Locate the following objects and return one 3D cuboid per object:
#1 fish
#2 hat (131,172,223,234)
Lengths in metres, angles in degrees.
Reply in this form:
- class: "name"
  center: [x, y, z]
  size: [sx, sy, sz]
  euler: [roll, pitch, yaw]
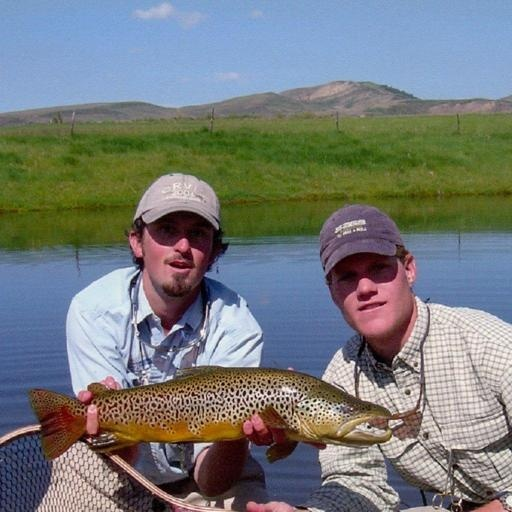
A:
- class: "fish"
  center: [-0.206, 0.775, 4.123]
  size: [1.600, 0.519, 0.366]
  euler: [-3, 30, 16]
- class: "hat"
  center: [-0.461, -0.315, 5.149]
  size: [0.513, 0.394, 0.715]
  euler: [5, -8, -16]
